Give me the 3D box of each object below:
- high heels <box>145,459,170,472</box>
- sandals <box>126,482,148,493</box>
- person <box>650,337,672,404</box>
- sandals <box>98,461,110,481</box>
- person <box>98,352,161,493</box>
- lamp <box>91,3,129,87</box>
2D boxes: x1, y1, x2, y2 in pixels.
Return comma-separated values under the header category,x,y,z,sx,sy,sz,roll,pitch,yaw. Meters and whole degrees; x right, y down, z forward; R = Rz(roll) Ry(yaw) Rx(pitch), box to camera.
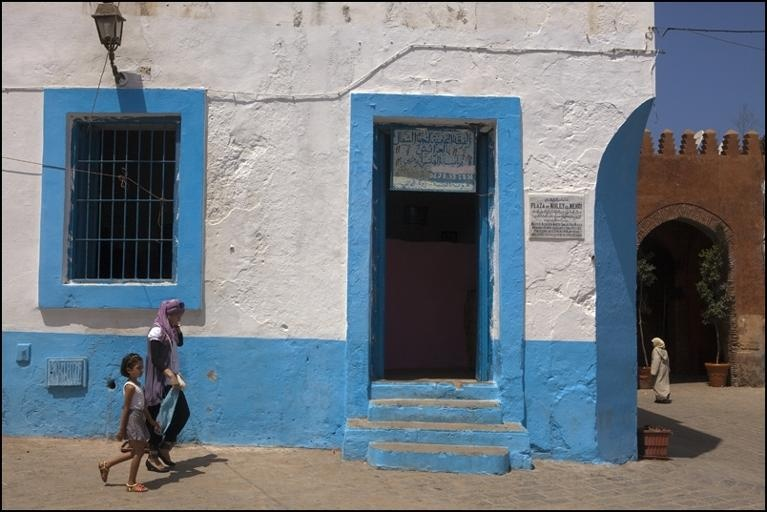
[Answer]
category,x,y,z,sx,sy,sz,roll,pitch,yaw
high heels,-3.309,3.059,15.658,0.343,0.121,0.157,0,0,1
sandals,-3.497,3.252,15.053,0.234,0.078,0.132,1,-2,-6
person,5.815,2.379,22.418,0.384,1.259,1.199,0,-1,15
sandals,-4.001,3.044,15.239,0.167,0.359,0.128,-2,19,1
person,-3.731,2.358,15.471,0.756,1.904,0.960,1,-1,-14
lamp,-4.303,-3.283,16.744,0.398,1.246,0.400,0,-1,10
